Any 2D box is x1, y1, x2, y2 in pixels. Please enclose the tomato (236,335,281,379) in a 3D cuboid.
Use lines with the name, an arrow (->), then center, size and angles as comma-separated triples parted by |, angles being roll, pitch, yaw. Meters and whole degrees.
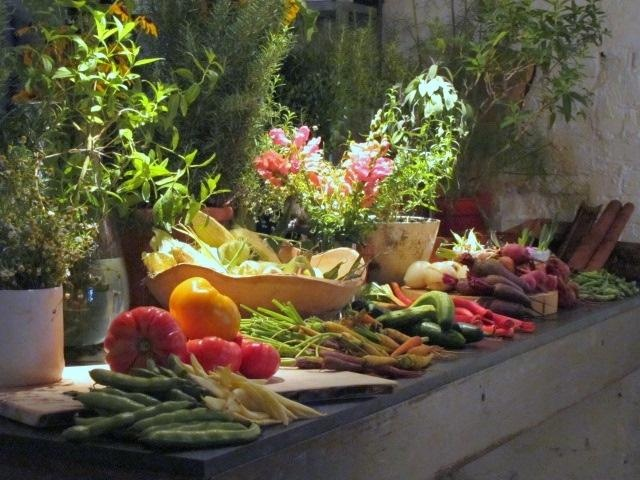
tomato -> -0.100, 0.186, 0.848 | 0.076, 0.059, 0.070 | 16, -14, -35

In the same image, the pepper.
pepper -> -0.196, 0.128, 0.927 | 0.102, 0.071, 0.095 | 39, -25, -1

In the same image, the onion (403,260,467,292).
onion -> 0.262, 0.081, 1.267 | 0.125, 0.072, 0.131 | -2, 0, -33

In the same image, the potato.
potato -> 0.470, 0.075, 1.360 | 0.285, 0.189, 0.250 | 6, 6, -15

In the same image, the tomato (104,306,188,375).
tomato -> -0.250, 0.139, 0.771 | 0.088, 0.098, 0.099 | 6, 6, 36
